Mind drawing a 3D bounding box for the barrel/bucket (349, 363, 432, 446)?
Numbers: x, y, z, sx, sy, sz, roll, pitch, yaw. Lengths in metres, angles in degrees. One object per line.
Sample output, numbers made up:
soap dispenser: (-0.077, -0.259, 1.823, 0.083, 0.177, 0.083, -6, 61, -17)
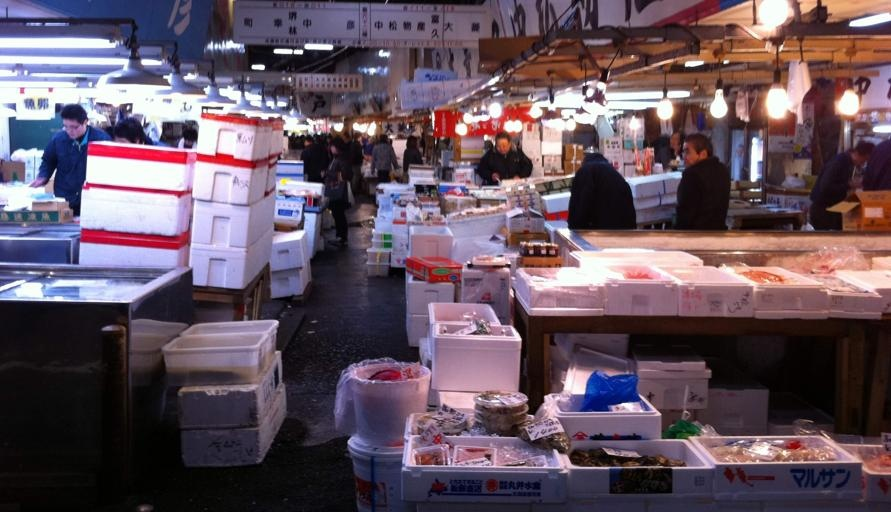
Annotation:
barrel/bucket: (-0.481, 1.323, 6.972, 0.681, 0.490, 0.652, 0, 3, 0)
